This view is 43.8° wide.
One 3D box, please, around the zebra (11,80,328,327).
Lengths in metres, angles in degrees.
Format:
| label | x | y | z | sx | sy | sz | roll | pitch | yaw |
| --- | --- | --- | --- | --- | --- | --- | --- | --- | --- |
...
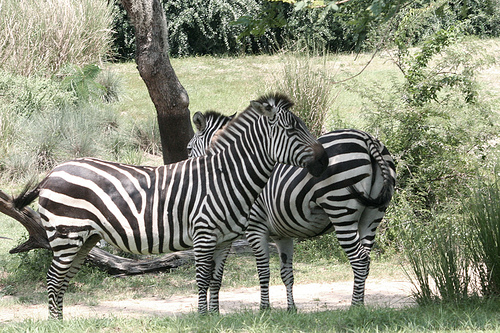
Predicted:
| label | x | y | z | sx | sy | sz | roll | pitch | yaw |
| --- | --- | --- | --- | --- | --- | --- | --- | --- | --- |
| zebra | -1.162 | 0.673 | 9.714 | 4.388 | 3.761 | 2.729 | 3 | 8 | 7 |

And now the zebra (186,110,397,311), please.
| label | x | y | z | sx | sy | sz | roll | pitch | yaw |
| --- | --- | --- | --- | --- | --- | --- | --- | --- | --- |
| zebra | 0.467 | 0.683 | 10.757 | 4.276 | 3.524 | 1.487 | -8 | -4 | 39 |
